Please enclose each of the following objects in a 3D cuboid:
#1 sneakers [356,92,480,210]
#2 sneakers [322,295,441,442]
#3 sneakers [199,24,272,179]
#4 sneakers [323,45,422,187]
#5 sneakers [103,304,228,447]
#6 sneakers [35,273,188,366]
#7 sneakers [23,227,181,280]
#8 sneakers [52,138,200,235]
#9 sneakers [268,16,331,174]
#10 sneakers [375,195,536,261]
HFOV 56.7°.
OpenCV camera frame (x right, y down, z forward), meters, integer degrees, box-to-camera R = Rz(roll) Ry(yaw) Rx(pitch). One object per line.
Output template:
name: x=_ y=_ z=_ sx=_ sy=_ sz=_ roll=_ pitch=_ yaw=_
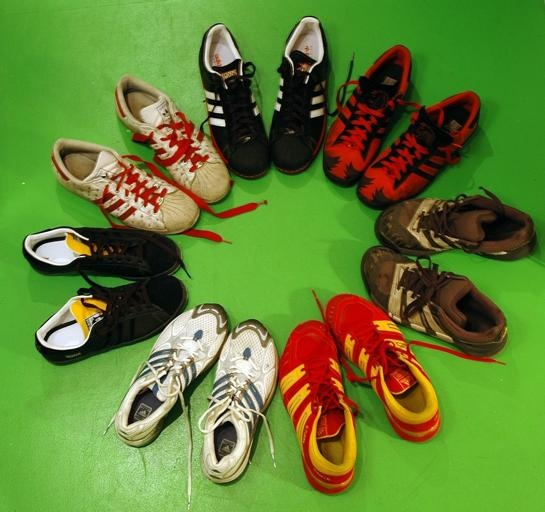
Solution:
sneakers: x=0.464 y=-0.324 z=1.727 sx=0.507 sy=0.203 sz=0.222 roll=-39 pitch=80 yaw=19
sneakers: x=0.338 y=0.318 z=1.590 sx=0.217 sy=0.211 sz=0.512 roll=-36 pitch=72 yaw=2
sneakers: x=-0.127 y=-0.494 z=1.770 sx=0.247 sy=0.228 sz=0.524 roll=-18 pitch=94 yaw=0
sneakers: x=0.297 y=-0.444 z=1.809 sx=0.274 sy=0.199 sz=0.512 roll=35 pitch=101 yaw=9
sneakers: x=-0.282 y=0.320 z=1.618 sx=0.218 sy=0.198 sz=0.533 roll=39 pitch=79 yaw=3
sneakers: x=-0.477 y=0.209 z=1.684 sx=0.542 sy=0.183 sz=0.187 roll=-15 pitch=80 yaw=-3
sneakers: x=-0.540 y=0.000 z=1.725 sx=0.563 sy=0.185 sz=0.170 roll=1 pitch=85 yaw=-1
sneakers: x=-0.449 y=-0.181 z=1.728 sx=0.585 sy=0.199 sz=0.210 roll=22 pitch=84 yaw=-12
sneakers: x=0.094 y=-0.544 z=1.765 sx=0.223 sy=0.222 sz=0.503 roll=6 pitch=96 yaw=3
sneakers: x=0.576 y=-0.087 z=1.601 sx=0.479 sy=0.163 sz=0.185 roll=6 pitch=88 yaw=14
